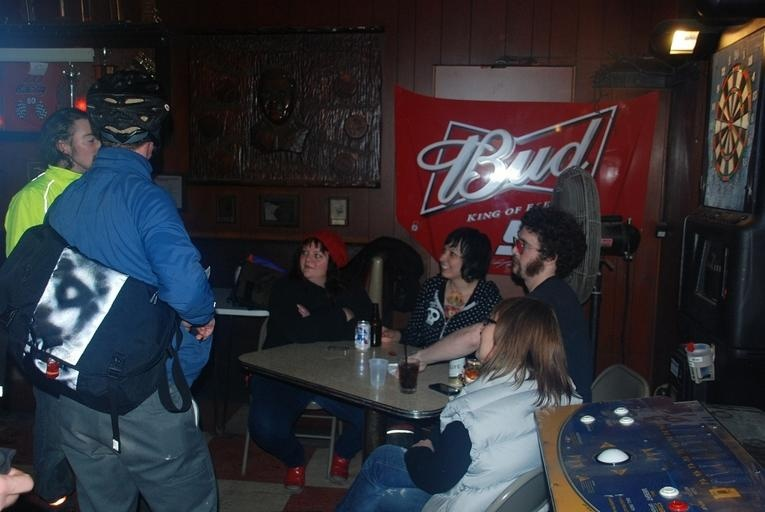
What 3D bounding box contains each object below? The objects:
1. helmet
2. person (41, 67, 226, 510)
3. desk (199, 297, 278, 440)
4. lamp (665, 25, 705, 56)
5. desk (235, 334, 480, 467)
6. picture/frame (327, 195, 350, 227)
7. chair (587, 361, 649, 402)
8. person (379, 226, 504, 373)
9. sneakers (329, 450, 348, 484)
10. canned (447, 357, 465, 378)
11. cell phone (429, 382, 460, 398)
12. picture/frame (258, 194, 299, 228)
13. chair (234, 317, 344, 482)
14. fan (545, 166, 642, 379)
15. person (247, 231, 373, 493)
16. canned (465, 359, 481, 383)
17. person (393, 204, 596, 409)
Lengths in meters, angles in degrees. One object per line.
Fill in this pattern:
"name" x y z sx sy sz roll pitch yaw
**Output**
"helmet" -1.171 -0.698 3.049 0.386 0.359 0.277 -3 19 -8
"person" -1.077 0.252 2.930 0.739 1.999 0.843 18 22 14
"desk" -1.111 0.806 4.961 0.592 1.017 0.507 5 12 0
"lamp" 1.889 -1.336 4.055 0.176 0.140 0.095 3 7 13
"desk" -0.243 0.696 3.880 1.771 0.604 0.961 3 14 -5
"picture/frame" -0.353 -0.372 5.215 0.258 0.329 0.033 3 16 4
"chair" 1.195 0.644 3.267 0.261 0.308 0.237 -9 5 28
"person" 0.459 0.208 4.264 0.625 0.874 0.650 27 27 26
"sneakers" -0.284 1.370 4.222 0.080 0.097 0.231 21 -1 -10
"canned" 0.404 0.600 3.513 0.096 0.146 0.096 1 -2 -5
"cell phone" 0.320 0.697 3.377 0.073 0.020 0.104 -5 10 -39
"picture/frame" -0.841 -0.369 5.261 0.302 0.262 0.078 1 6 12
"chair" -0.615 1.024 4.371 0.511 1.166 0.517 -1 3 -26
"fan" 1.302 0.137 4.074 0.512 1.373 0.593 6 30 12
"person" -0.450 0.663 4.314 0.889 1.657 0.806 0 -3 -9
"canned" 0.463 0.589 3.350 0.110 0.115 0.106 1 -4 -8
"person" 0.642 0.490 3.649 0.991 1.521 0.455 6 11 -3
